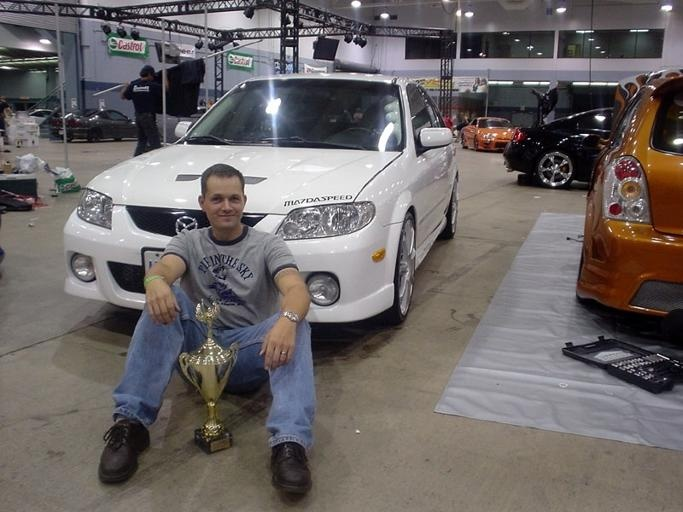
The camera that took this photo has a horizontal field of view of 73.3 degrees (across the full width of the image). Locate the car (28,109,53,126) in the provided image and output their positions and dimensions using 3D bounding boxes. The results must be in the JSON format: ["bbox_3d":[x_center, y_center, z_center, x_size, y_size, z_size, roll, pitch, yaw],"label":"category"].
[{"bbox_3d":[-14.789,-6.932,22.762,0.945,0.778,3.139,-8,18,-30],"label":"car"}]

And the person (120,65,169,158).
[{"bbox_3d":[-3.962,-2.776,9.329,0.795,1.966,0.476,2,9,-6],"label":"person"}]

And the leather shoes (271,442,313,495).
[{"bbox_3d":[-0.194,0.830,1.833,0.134,0.163,0.358,7,-14,-9],"label":"leather shoes"}]

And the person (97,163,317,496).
[{"bbox_3d":[-0.543,0.355,2.188,1.007,1.387,1.065,5,13,-3],"label":"person"}]

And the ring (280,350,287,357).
[{"bbox_3d":[-0.231,0.398,1.866,0.030,0.022,0.006,-2,14,-9],"label":"ring"}]

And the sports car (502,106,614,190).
[{"bbox_3d":[4.536,-2.177,9.778,2.141,0.946,1.362,-6,27,14],"label":"sports car"}]

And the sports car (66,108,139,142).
[{"bbox_3d":[-10.904,-5.988,21.498,2.024,1.237,3.485,10,20,30],"label":"sports car"}]

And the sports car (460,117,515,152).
[{"bbox_3d":[6.448,-5.342,20.686,1.732,1.331,3.762,-2,10,-1],"label":"sports car"}]

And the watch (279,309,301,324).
[{"bbox_3d":[-0.202,0.258,1.938,0.054,0.022,0.057,33,-1,43],"label":"watch"}]
